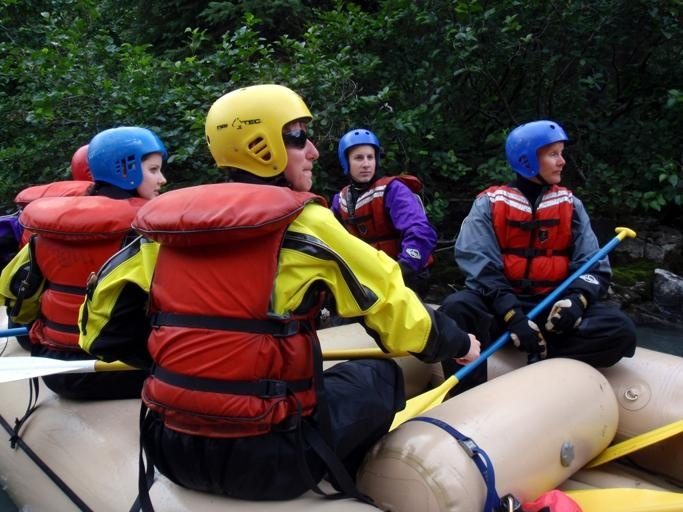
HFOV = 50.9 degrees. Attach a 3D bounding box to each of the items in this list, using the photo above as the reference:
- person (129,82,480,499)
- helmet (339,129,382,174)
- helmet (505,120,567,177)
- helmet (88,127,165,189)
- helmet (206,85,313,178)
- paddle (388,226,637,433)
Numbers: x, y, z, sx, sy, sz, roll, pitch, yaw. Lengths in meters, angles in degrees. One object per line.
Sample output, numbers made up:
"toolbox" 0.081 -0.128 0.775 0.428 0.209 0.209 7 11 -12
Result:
"person" -0.291 0.423 3.518 1.358 1.535 0.563 -2 12 -16
"helmet" 0.091 -0.806 5.587 0.289 0.335 0.356 -4 -4 -11
"helmet" 1.313 -0.729 4.950 0.416 0.337 0.321 -5 9 21
"helmet" -1.372 -0.609 4.556 0.496 0.376 0.370 -5 6 -12
"helmet" -0.432 -0.673 3.804 0.610 0.455 0.474 -4 14 15
"paddle" 1.029 0.468 4.346 2.227 0.303 0.073 -34 -7 -25
